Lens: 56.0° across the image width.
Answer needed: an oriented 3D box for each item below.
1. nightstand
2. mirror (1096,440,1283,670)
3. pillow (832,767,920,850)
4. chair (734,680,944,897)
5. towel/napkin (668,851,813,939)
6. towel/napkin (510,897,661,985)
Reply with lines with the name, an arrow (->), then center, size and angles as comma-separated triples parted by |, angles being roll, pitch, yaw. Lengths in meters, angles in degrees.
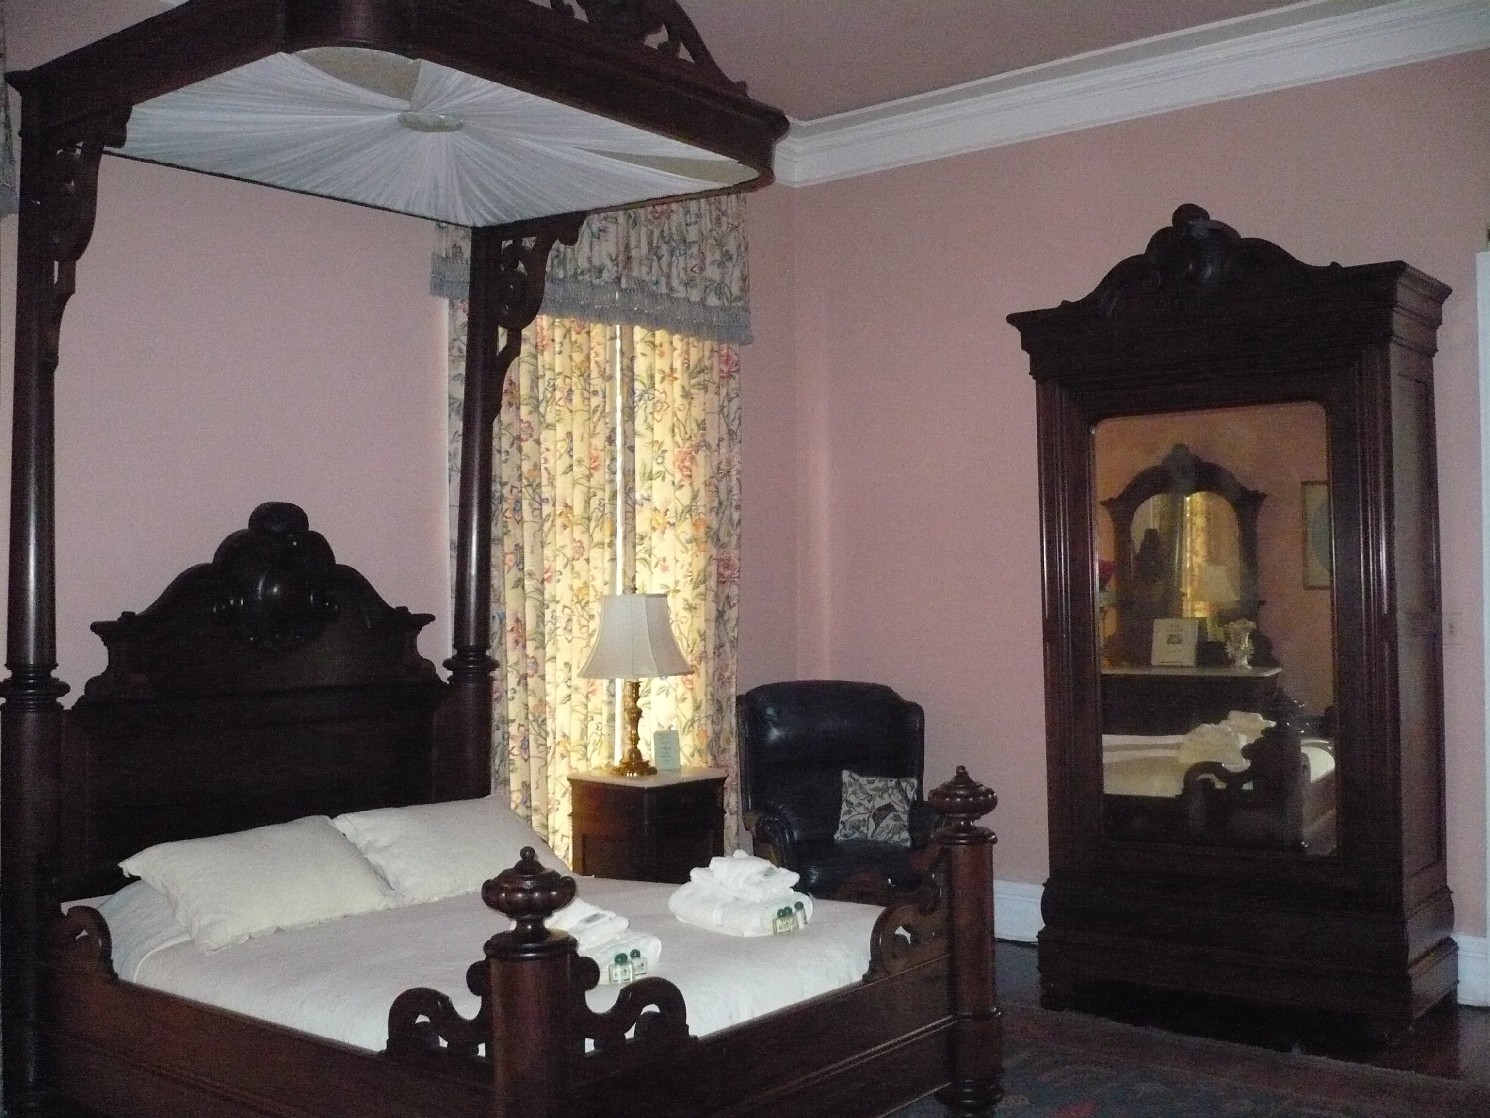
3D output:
nightstand -> -0.442, 1.345, 6.261 | 0.493, 0.784, 0.584 | 1, -4, -43
mirror -> 1.924, -0.013, 5.941 | 0.983, 1.316, 0.031 | -1, -1, 37
pillow -> 0.599, 1.145, 6.378 | 0.315, 0.303, 0.095 | 3, -25, 4
chair -> 0.465, 1.163, 6.424 | 0.940, 1.222, 0.835 | -3, -8, -3
towel/napkin -> 0.040, 1.092, 4.527 | 0.280, 0.122, 0.286 | 0, 0, 38
towel/napkin -> -0.398, 1.112, 4.036 | 0.312, 0.094, 0.317 | 12, 5, 37
